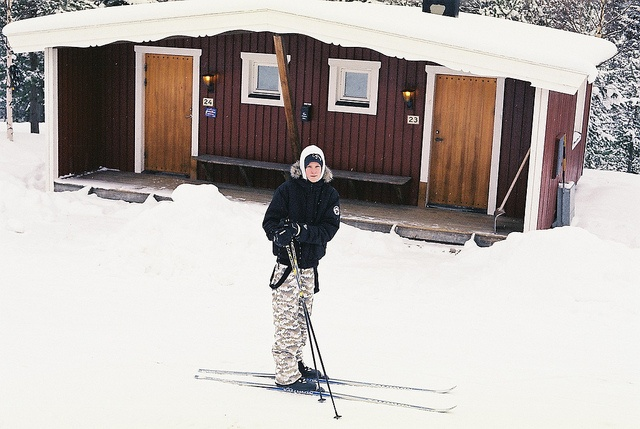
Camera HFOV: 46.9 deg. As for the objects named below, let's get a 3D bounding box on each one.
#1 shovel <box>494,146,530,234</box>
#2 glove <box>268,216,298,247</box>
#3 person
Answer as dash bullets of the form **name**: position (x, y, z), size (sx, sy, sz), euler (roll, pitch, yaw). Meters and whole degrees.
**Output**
- **shovel**: position (3.725, -0.515, 14.347), size (0.212, 1.660, 0.157), euler (21, 5, 31)
- **glove**: position (-0.429, 0.236, 9.061), size (0.314, 0.281, 0.239), euler (14, 19, 30)
- **person**: position (-0.274, 0.644, 9.222), size (0.932, 2.883, 0.860), euler (3, 14, 1)
